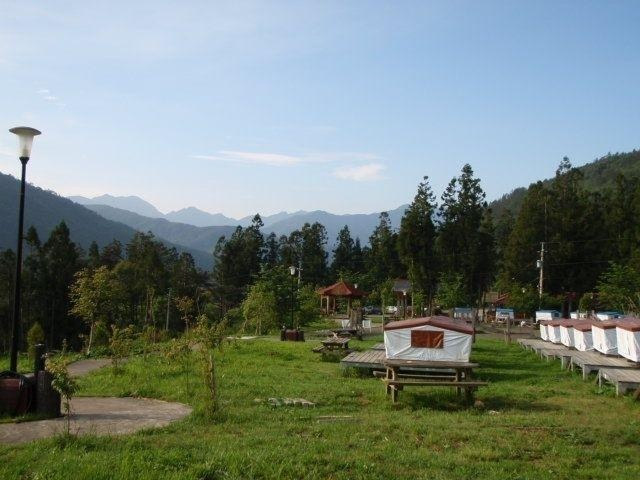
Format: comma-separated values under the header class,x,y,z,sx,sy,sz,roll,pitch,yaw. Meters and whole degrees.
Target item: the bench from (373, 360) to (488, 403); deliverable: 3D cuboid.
class,x,y,z,sx,sy,sz,roll,pitch,yaw
bench,3.483,4.415,19.151,2.723,1.206,4.057,-1,-10,8
